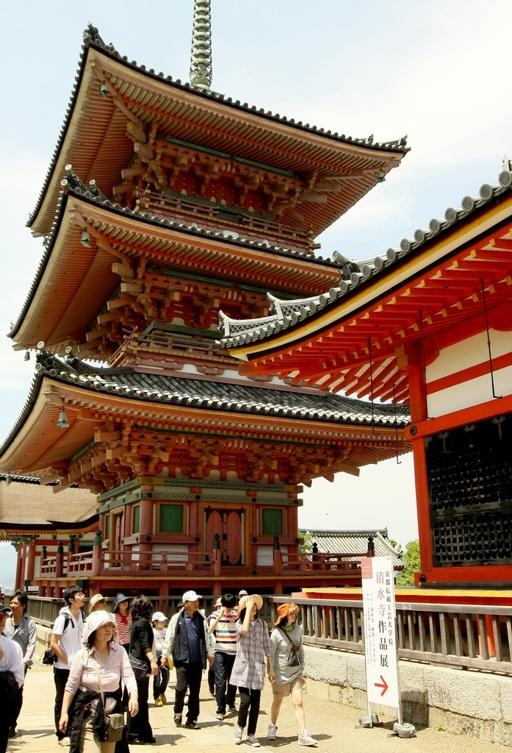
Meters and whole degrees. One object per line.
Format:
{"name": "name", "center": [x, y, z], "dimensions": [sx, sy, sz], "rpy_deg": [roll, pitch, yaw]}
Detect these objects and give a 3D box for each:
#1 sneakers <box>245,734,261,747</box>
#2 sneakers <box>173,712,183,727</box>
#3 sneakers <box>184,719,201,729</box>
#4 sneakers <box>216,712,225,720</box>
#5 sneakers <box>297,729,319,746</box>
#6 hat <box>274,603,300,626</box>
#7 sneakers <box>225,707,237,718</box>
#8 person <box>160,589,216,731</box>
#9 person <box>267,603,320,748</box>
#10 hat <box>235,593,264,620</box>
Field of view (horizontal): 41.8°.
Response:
{"name": "sneakers", "center": [-0.025, 3.522, 6.470], "dimensions": [0.064, 0.073, 0.169], "rpy_deg": [5, -19, -20]}
{"name": "sneakers", "center": [-0.882, 3.863, 7.580], "dimensions": [0.086, 0.122, 0.234], "rpy_deg": [2, -18, -8]}
{"name": "sneakers", "center": [-0.693, 3.870, 7.435], "dimensions": [0.068, 0.075, 0.189], "rpy_deg": [15, -29, -21]}
{"name": "sneakers", "center": [-0.426, 4.029, 7.936], "dimensions": [0.049, 0.056, 0.144], "rpy_deg": [4, -33, 4]}
{"name": "sneakers", "center": [0.483, 3.444, 6.377], "dimensions": [0.090, 0.099, 0.224], "rpy_deg": [10, -25, -19]}
{"name": "hat", "center": [0.318, 2.479, 7.018], "dimensions": [0.366, 0.241, 0.336], "rpy_deg": [-2, -25, 1]}
{"name": "sneakers", "center": [-0.320, 4.158, 8.291], "dimensions": [0.074, 0.148, 0.213], "rpy_deg": [22, -36, 4]}
{"name": "person", "center": [-0.826, 3.287, 7.901], "dimensions": [0.537, 1.453, 1.126], "rpy_deg": [1, -19, -5]}
{"name": "person", "center": [0.336, 2.992, 6.816], "dimensions": [0.461, 1.304, 0.769], "rpy_deg": [-1, -19, 0]}
{"name": "hat", "center": [-0.056, 2.505, 7.268], "dimensions": [0.319, 0.131, 0.396], "rpy_deg": [0, -54, -8]}
